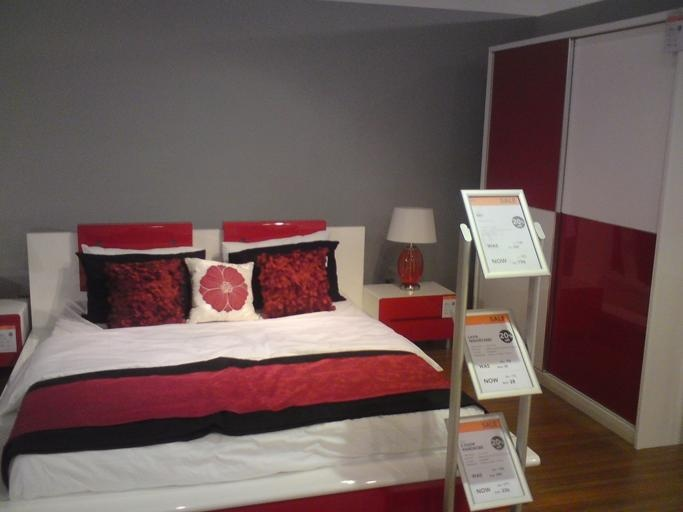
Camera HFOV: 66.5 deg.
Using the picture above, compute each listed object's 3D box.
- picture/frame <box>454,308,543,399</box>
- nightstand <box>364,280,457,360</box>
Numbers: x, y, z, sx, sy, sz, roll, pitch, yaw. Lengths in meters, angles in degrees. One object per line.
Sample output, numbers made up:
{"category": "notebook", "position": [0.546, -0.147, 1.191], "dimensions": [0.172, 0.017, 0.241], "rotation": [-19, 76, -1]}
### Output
{"category": "picture/frame", "position": [0.671, 0.431, 2.190], "dimensions": [0.306, 0.388, 0.187], "rotation": [-2, 9, -7]}
{"category": "nightstand", "position": [0.626, 0.449, 4.556], "dimensions": [0.731, 0.527, 0.490], "rotation": [-1, 10, -16]}
